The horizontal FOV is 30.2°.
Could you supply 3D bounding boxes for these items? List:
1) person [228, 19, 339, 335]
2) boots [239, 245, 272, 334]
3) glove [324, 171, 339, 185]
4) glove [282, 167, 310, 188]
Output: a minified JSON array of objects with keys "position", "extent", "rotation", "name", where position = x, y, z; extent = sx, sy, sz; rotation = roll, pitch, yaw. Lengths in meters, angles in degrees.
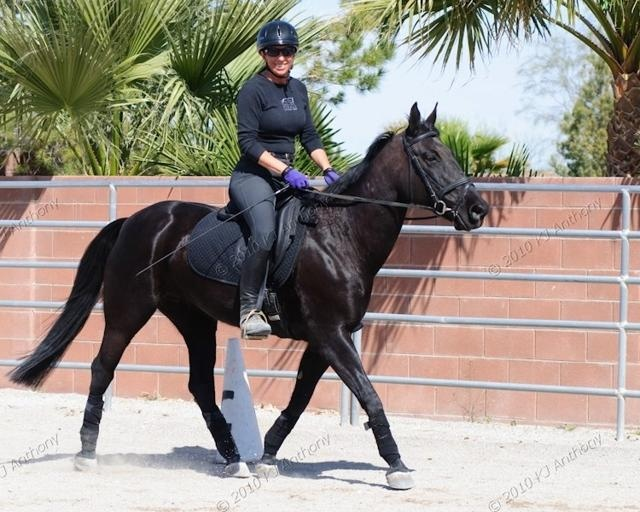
[{"position":[-0.452,-0.729,10.167],"extent":[1.159,2.484,1.295],"rotation":[-6,16,-31],"name":"person"},{"position":[-0.544,0.303,9.872],"extent":[0.236,0.797,0.244],"rotation":[-1,12,-5],"name":"boots"},{"position":[0.098,-0.685,10.336],"extent":[0.113,0.135,0.074],"rotation":[-3,14,0],"name":"glove"},{"position":[-0.204,-0.655,9.977],"extent":[0.217,0.179,0.126],"rotation":[5,12,23],"name":"glove"}]
